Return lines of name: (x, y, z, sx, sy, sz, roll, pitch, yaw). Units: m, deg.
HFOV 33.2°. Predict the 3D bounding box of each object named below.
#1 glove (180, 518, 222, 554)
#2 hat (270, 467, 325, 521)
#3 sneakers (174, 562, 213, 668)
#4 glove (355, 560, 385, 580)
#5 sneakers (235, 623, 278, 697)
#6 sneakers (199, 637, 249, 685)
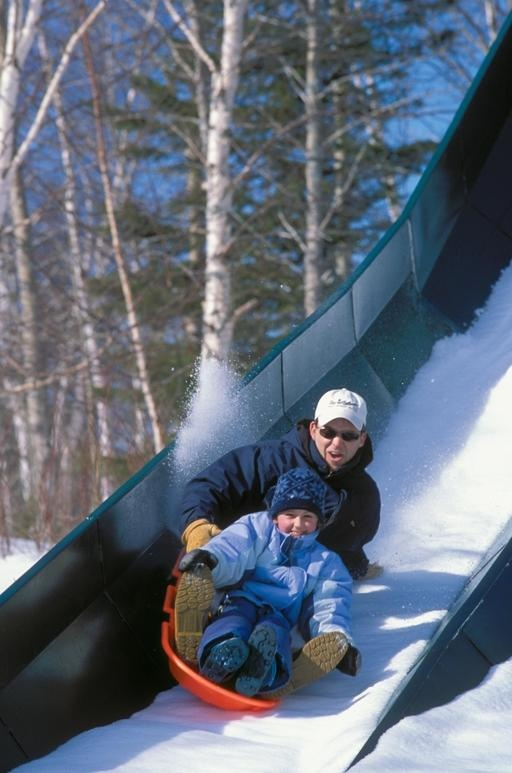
glove: (-0.190, 0.519, 2.959, 0.096, 0.053, 0.132, 26, 28, 30)
hat: (0.159, 0.371, 2.944, 0.154, 0.140, 0.194, 15, -16, -2)
sneakers: (-0.175, 0.720, 2.711, 0.117, 0.302, 0.127, 3, -1, 1)
glove: (0.467, 0.751, 3.496, 0.099, 0.046, 0.072, -6, 7, -4)
sneakers: (0.007, 0.830, 2.603, 0.109, 0.215, 0.090, 15, -5, 21)
sneakers: (-0.087, 0.810, 2.564, 0.179, 0.099, 0.071, -35, -7, 27)
